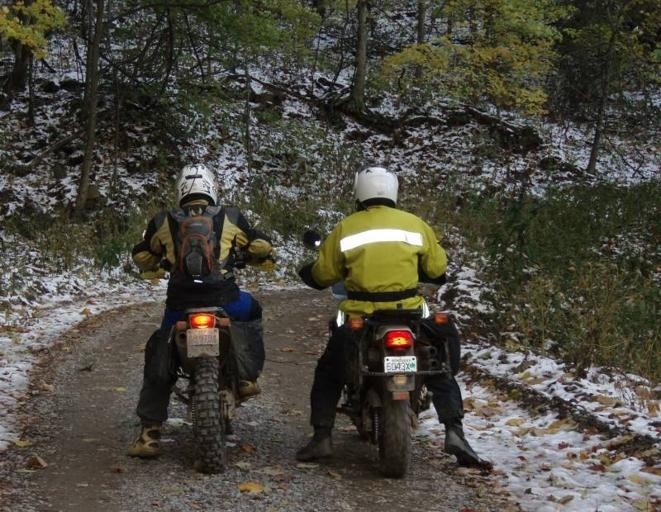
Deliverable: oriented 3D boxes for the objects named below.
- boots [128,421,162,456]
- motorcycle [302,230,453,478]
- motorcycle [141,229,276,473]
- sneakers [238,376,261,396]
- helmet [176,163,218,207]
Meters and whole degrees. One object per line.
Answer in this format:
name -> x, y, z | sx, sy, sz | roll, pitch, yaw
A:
boots -> -2.060, 1.986, 8.877 | 0.217, 0.449, 0.457 | 13, -11, -28
motorcycle -> 0.669, 1.308, 8.938 | 1.081, 2.076, 1.037 | -2, 15, -12
motorcycle -> -1.433, 1.085, 8.933 | 1.115, 2.243, 1.141 | -1, 14, -6
sneakers -> -0.900, 1.497, 9.448 | 0.298, 0.296, 0.141 | -7, -3, -8
helmet -> -1.464, -0.793, 9.203 | 0.381, 0.500, 0.476 | 0, -2, -5
